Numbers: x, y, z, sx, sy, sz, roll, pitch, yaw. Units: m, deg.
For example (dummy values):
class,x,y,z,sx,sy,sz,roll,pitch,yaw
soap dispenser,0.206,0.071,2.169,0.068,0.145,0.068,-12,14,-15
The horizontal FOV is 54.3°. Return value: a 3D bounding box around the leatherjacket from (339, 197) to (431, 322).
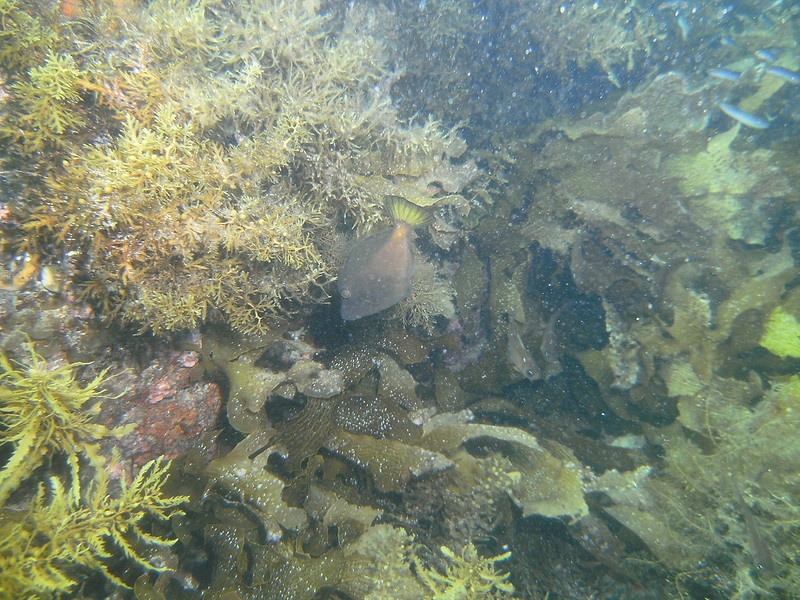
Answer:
class,x,y,z,sx,sy,sz,roll,pitch,yaw
leatherjacket,-0.042,-0.432,7.237,0.904,1.210,0.261,-18,46,2
